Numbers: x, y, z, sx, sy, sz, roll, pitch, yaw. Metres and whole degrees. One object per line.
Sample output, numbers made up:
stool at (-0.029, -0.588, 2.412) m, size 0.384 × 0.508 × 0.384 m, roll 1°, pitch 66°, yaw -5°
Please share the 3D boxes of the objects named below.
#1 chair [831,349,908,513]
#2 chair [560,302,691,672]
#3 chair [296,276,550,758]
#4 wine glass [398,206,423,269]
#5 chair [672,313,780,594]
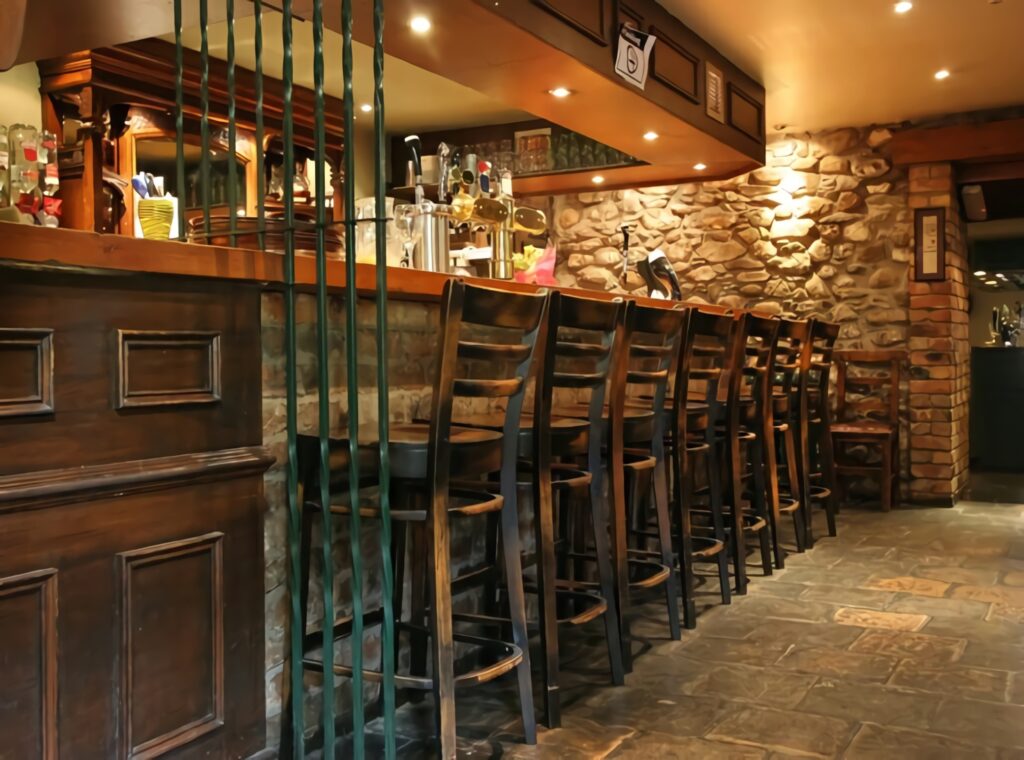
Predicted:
chair at (2.657, 0.360, 6.342) m, size 0.519 × 1.131 × 0.804 m, roll 0°, pitch 2°, yaw 20°
chair at (0.436, 0.375, 3.366) m, size 0.524 × 1.107 × 0.577 m, roll -4°, pitch 3°, yaw 41°
chair at (-0.159, 0.390, 2.669) m, size 0.555 × 1.314 × 1.056 m, roll 0°, pitch 2°, yaw 2°
wine glass at (-0.403, -0.526, 3.173) m, size 0.104 × 0.224 × 0.115 m, roll -1°, pitch 2°, yaw -27°
chair at (0.861, 0.287, 4.192) m, size 0.814 × 1.230 × 0.801 m, roll 0°, pitch 1°, yaw 8°
